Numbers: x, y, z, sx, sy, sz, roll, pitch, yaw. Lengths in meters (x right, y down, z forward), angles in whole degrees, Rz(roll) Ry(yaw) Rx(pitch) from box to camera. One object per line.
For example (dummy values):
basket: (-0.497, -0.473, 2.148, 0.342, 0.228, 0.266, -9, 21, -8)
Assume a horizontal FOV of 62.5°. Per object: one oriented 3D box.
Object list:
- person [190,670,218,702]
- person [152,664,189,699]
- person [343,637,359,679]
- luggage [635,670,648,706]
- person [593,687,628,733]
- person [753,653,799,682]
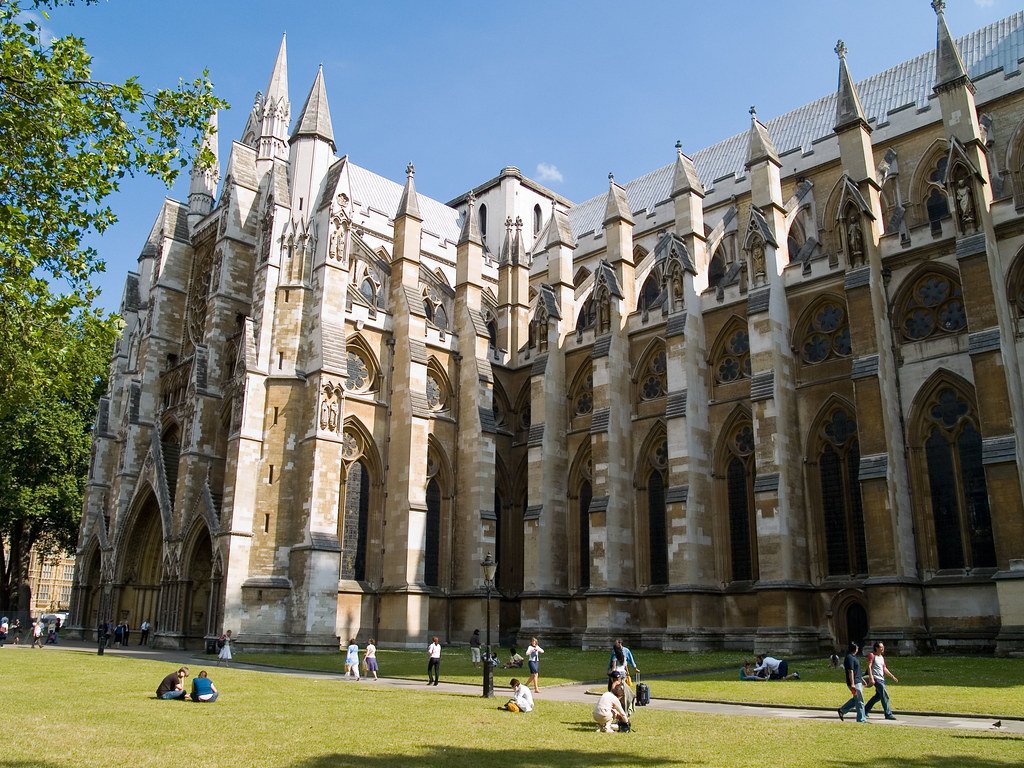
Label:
person: (-6.838, 6.709, 18.754, 0.532, 0.636, 0.903, 6, -20, -19)
person: (-7.569, 6.680, 18.818, 0.669, 0.660, 0.779, 6, -21, -21)
person: (-4.627, 7.977, 24.505, 0.333, 1.072, 0.971, 2, -19, -8)
luggage: (3.047, 7.261, 19.803, 0.307, 0.502, 0.639, -3, -19, 7)
person: (1.839, 6.417, 16.658, 0.616, 0.777, 0.719, 11, -16, -32)
person: (7.152, 7.780, 23.081, 1.123, 0.611, 0.842, -6, -20, 12)
